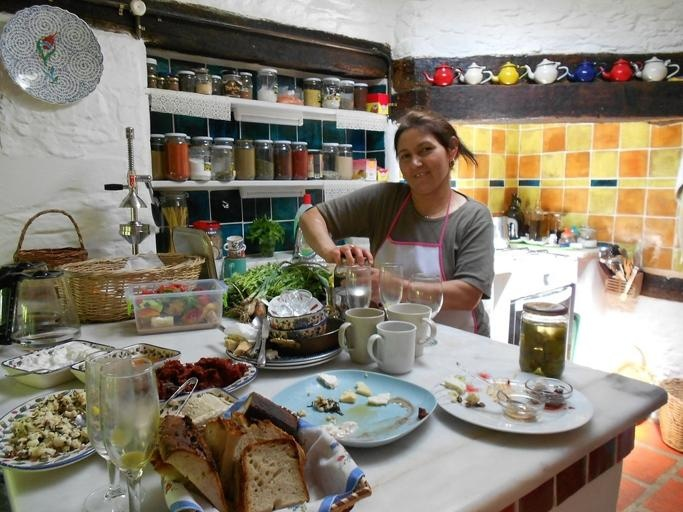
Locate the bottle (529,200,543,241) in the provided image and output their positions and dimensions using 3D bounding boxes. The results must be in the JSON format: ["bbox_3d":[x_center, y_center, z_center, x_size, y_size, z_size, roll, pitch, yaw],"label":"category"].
[{"bbox_3d":[1.591,-0.275,3.997,0.105,0.276,0.174,3,10,21],"label":"bottle"}]

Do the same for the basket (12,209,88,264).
[{"bbox_3d":[-1.258,-0.085,2.172,0.310,0.294,0.299,-4,13,-33],"label":"basket"}]

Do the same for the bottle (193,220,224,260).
[{"bbox_3d":[-0.736,-0.094,2.720,0.152,0.211,0.413,-3,9,-13],"label":"bottle"}]

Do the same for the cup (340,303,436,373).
[{"bbox_3d":[0.146,0.228,1.470,0.150,0.143,0.279,13,21,43],"label":"cup"}]

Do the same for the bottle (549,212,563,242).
[{"bbox_3d":[1.700,-0.232,3.888,0.087,0.230,0.210,3,10,24],"label":"bottle"}]

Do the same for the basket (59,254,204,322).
[{"bbox_3d":[-0.813,0.114,1.917,0.291,0.151,0.378,0,1,45],"label":"basket"}]

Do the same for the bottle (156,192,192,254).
[{"bbox_3d":[-0.867,-0.176,2.554,0.151,0.317,0.525,-4,9,-17],"label":"bottle"}]
